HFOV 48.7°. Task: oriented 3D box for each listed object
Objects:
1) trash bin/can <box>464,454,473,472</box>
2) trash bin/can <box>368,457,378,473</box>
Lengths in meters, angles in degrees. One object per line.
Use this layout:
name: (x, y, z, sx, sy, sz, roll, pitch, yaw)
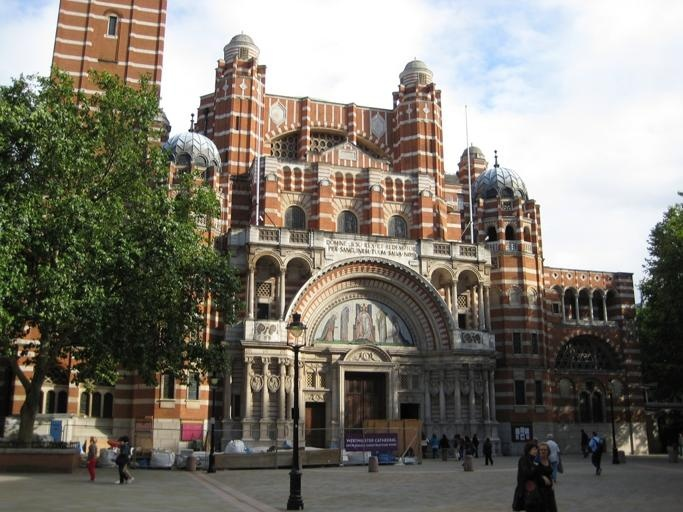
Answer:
trash bin/can: (6.610, 10.782, 39.388, 0.452, 0.779, 0.664, 0, -14, 6)
trash bin/can: (1.627, 10.656, 38.632, 0.479, 0.794, 0.905, 1, -14, 1)
